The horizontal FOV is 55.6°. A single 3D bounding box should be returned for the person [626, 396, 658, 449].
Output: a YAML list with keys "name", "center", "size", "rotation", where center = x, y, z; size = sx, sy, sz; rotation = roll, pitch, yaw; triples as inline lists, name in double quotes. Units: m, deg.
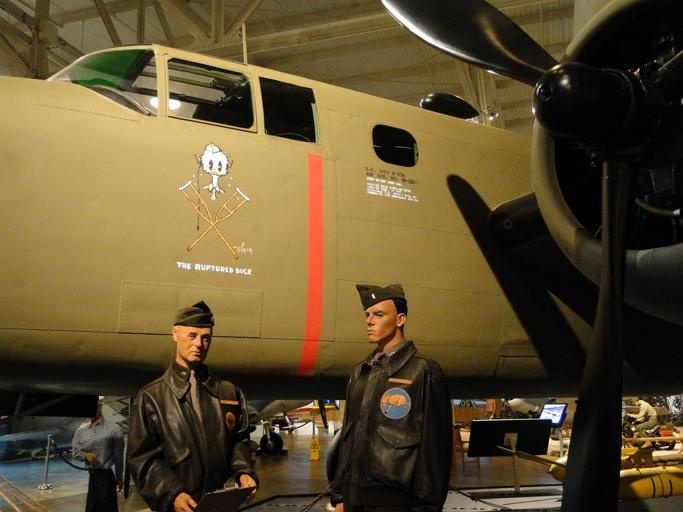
- name: "person"
  center: [7.534, 4.114, 16.228]
  size: [0.574, 1.136, 0.448]
  rotation: [-4, -1, 22]
